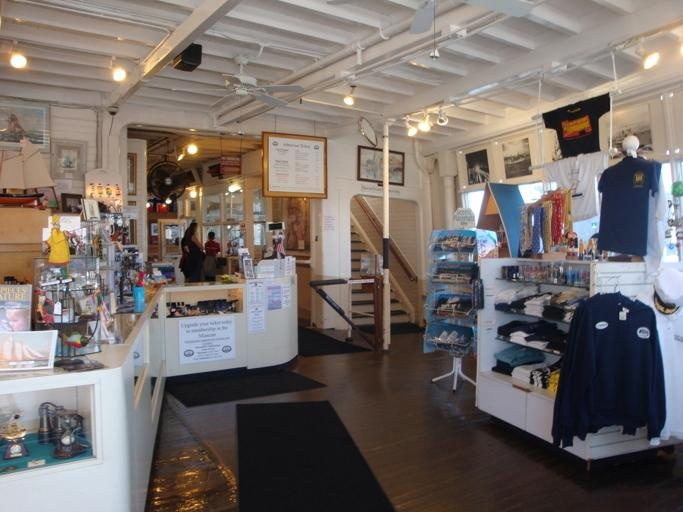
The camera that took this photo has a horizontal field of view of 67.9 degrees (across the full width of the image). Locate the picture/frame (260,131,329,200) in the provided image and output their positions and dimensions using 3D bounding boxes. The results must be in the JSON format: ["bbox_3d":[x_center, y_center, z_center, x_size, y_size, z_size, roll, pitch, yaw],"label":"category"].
[{"bbox_3d":[-0.876,-1.685,9.417,1.300,1.095,0.150,-3,5,-27],"label":"picture/frame"}]

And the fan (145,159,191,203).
[{"bbox_3d":[-4.739,-1.998,13.777,0.981,1.036,1.752,-4,6,-20],"label":"fan"}]

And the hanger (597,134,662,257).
[{"bbox_3d":[2.863,-0.595,5.114,0.456,1.226,0.596,-7,7,-41],"label":"hanger"}]

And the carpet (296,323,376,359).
[{"bbox_3d":[-0.201,1.555,9.163,1.211,0.107,1.871,-3,6,-7],"label":"carpet"}]

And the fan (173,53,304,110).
[{"bbox_3d":[-1.120,-2.286,6.491,1.056,0.378,0.939,-2,14,-27],"label":"fan"}]

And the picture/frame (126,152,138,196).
[{"bbox_3d":[-4.239,-1.655,10.307,0.275,0.875,0.167,-6,7,-36],"label":"picture/frame"}]

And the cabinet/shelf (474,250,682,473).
[{"bbox_3d":[2.120,0.947,5.232,0.917,1.851,1.672,-7,7,-40],"label":"cabinet/shelf"}]

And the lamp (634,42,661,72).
[{"bbox_3d":[3.867,-2.492,6.412,0.272,0.418,1.161,1,7,32],"label":"lamp"}]

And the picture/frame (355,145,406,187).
[{"bbox_3d":[0.753,-1.822,10.324,1.143,0.767,0.046,2,-2,-29],"label":"picture/frame"}]

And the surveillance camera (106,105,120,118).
[{"bbox_3d":[-3.684,-2.329,8.193,0.137,0.135,0.147,-2,-2,-38],"label":"surveillance camera"}]

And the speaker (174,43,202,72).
[{"bbox_3d":[-1.925,-2.502,6.378,0.373,0.321,0.426,-4,6,-15],"label":"speaker"}]
